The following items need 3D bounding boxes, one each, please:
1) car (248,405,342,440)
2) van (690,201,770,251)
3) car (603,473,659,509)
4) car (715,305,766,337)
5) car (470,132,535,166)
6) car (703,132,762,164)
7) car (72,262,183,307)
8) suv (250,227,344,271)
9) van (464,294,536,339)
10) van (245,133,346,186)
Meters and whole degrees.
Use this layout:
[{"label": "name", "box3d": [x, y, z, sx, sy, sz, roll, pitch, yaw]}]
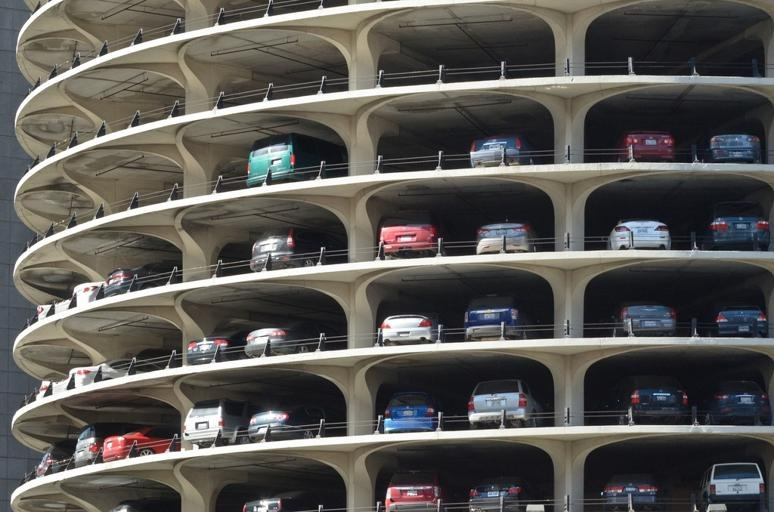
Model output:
[{"label": "car", "box3d": [-4.184, 8.692, 108.982, 3.284, 1.787, 5.850, -7, -9, 30]}, {"label": "van", "box3d": [17.898, -1.427, 107.959, 3.664, 1.881, 5.272, -1, -4, 10]}, {"label": "car", "box3d": [12.136, 11.630, 103.801, 2.886, 1.307, 3.982, -2, -7, 12]}, {"label": "car", "box3d": [18.071, 3.391, 106.556, 2.318, 1.002, 3.201, -1, -5, 11]}, {"label": "car", "box3d": [5.688, -4.996, 109.039, 2.757, 1.238, 3.670, 0, -8, 0]}, {"label": "car", "box3d": [18.008, -5.315, 108.577, 1.680, 1.844, 0.737, -6, 16, 6]}, {"label": "car", "box3d": [-13.973, 1.539, 112.988, 5.981, 2.123, 3.405, -3, -8, 6]}, {"label": "suv", "box3d": [-4.143, -0.207, 109.686, 4.842, 2.243, 2.924, 4, -11, -42]}, {"label": "van", "box3d": [5.496, 3.222, 105.927, 2.271, 1.225, 3.244, -4, -8, 18]}, {"label": "van", "box3d": [-4.682, -4.826, 110.288, 3.269, 1.565, 4.814, -7, -8, 43]}]
